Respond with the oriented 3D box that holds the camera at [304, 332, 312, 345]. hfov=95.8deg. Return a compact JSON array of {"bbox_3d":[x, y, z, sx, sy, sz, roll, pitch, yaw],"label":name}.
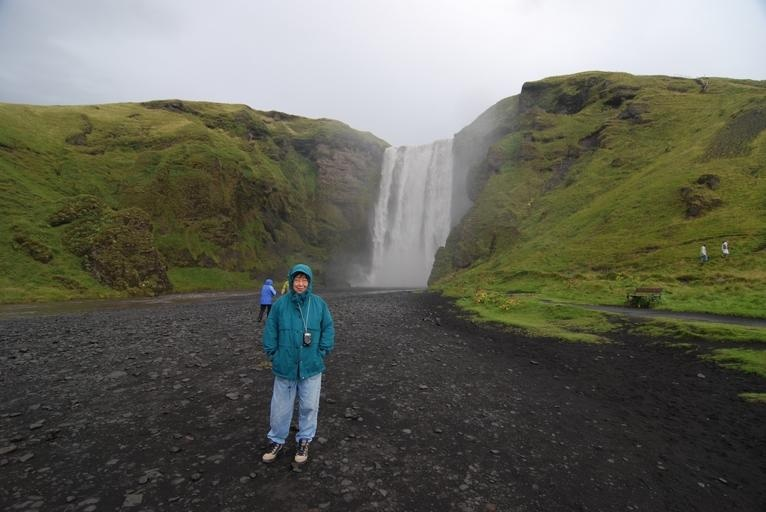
[{"bbox_3d":[-2.301,2.593,10.627,0.233,0.392,0.187,-1,14,-11],"label":"camera"}]
